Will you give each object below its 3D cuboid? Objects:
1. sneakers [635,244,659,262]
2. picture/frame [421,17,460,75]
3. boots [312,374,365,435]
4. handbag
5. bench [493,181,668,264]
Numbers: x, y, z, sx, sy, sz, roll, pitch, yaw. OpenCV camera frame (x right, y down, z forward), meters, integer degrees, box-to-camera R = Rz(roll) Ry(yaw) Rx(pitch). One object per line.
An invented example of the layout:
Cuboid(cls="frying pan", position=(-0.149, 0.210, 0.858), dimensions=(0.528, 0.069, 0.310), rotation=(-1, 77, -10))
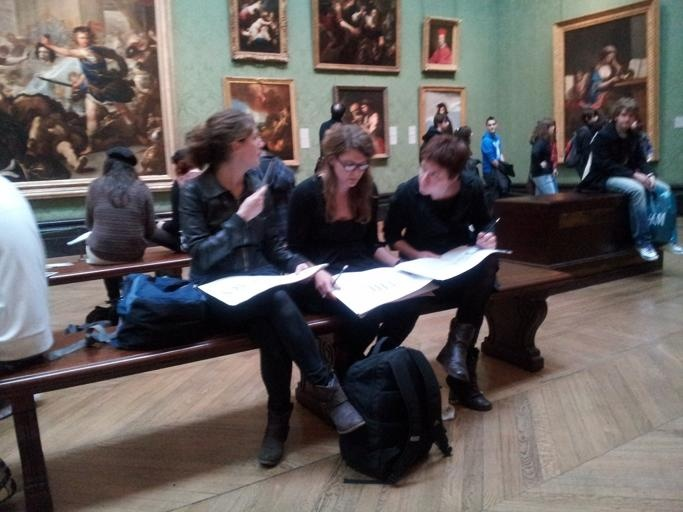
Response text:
Cuboid(cls="sneakers", position=(3.815, -0.029, 6.699), dimensions=(0.149, 0.166, 0.384), rotation=(-9, 5, -1))
Cuboid(cls="picture/frame", position=(1.812, -3.967, 9.980), dimensions=(1.054, 1.009, 0.183), rotation=(-8, 14, -34))
Cuboid(cls="boots", position=(-0.087, 0.827, 3.189), dimensions=(0.167, 0.229, 0.504), rotation=(-33, 28, -18))
Cuboid(cls="handbag", position=(-1.175, 0.339, 3.103), dimensions=(0.682, 0.276, 0.486), rotation=(-1, 10, -23))
Cuboid(cls="bench", position=(2.652, -0.317, 6.242), dimensions=(1.701, 0.769, 0.594), rotation=(-9, 14, -26))
